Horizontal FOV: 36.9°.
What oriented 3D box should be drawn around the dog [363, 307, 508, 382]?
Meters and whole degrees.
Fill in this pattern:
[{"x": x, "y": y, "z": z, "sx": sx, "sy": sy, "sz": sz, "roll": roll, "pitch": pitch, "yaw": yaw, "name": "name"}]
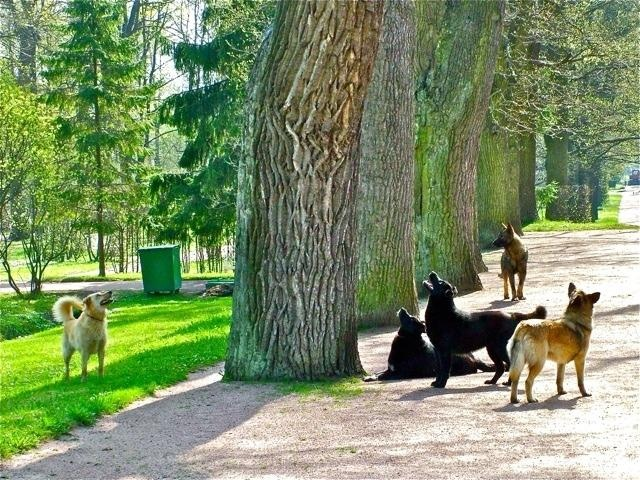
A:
[{"x": 2.574, "y": 2.313, "z": 20.749, "sx": 2.646, "sy": 1.433, "sz": 0.815, "roll": -3, "pitch": 11, "yaw": 9, "name": "dog"}]
